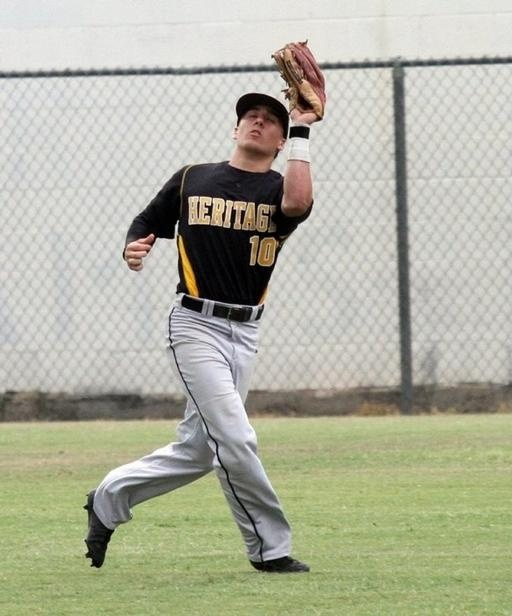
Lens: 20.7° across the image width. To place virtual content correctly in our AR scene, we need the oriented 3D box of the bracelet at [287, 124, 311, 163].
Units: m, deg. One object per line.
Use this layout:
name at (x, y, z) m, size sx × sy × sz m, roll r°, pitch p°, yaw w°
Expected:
bracelet at (0.169, -0.649, 5.608) m, size 0.086 × 0.143 × 0.114 m, roll -2°, pitch 11°, yaw 1°

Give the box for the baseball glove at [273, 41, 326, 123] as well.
baseball glove at (0.188, -0.911, 5.751) m, size 0.228 × 0.316 × 0.127 m, roll -15°, pitch 1°, yaw -31°

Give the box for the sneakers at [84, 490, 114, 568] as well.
sneakers at (-0.618, 0.873, 5.551) m, size 0.110 × 0.322 × 0.100 m, roll -28°, pitch -44°, yaw 17°

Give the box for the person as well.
person at (-0.230, 0.063, 5.676) m, size 0.979 × 1.789 × 0.901 m, roll -1°, pitch 11°, yaw 2°

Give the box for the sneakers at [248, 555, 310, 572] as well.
sneakers at (0.087, 0.972, 5.432) m, size 0.213 × 0.089 × 0.073 m, roll -3°, pitch -4°, yaw 5°
